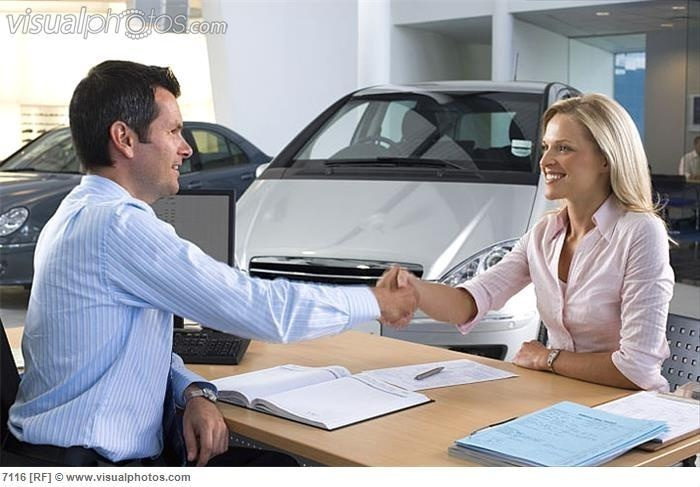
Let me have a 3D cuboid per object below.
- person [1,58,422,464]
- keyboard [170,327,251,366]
[{"bbox_3d":[-0.639,0.019,2.275,1.438,1.482,0.938,-7,14,-39],"label":"person"},{"bbox_3d":[-0.575,0.436,2.142,0.305,0.056,0.389,4,14,-16],"label":"keyboard"}]
